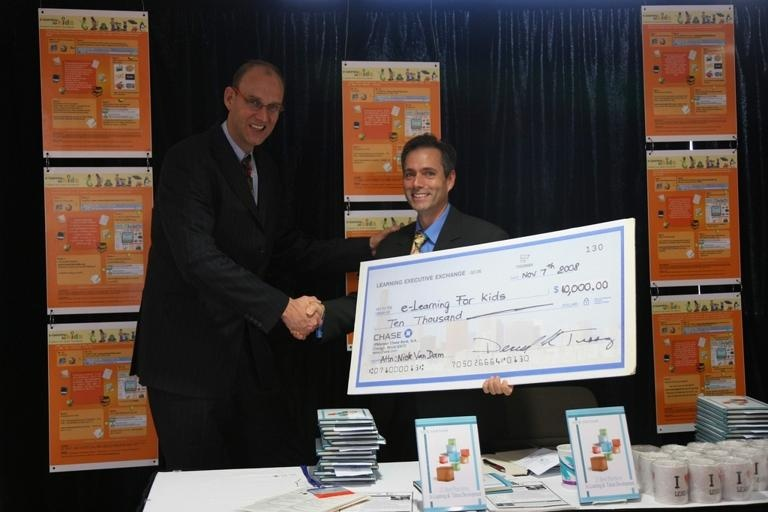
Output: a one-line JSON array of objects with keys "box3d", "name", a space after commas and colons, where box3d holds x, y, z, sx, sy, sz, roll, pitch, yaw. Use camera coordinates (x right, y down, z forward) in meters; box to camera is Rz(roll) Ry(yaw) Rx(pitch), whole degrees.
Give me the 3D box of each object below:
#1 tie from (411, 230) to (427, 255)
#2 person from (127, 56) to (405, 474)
[{"box3d": [0.187, -0.074, 4.367, 0.081, 0.121, 0.034, 36, -5, 29], "name": "tie"}, {"box3d": [-0.863, 0.082, 4.479, 1.202, 2.368, 0.516, -6, 6, -18], "name": "person"}]
